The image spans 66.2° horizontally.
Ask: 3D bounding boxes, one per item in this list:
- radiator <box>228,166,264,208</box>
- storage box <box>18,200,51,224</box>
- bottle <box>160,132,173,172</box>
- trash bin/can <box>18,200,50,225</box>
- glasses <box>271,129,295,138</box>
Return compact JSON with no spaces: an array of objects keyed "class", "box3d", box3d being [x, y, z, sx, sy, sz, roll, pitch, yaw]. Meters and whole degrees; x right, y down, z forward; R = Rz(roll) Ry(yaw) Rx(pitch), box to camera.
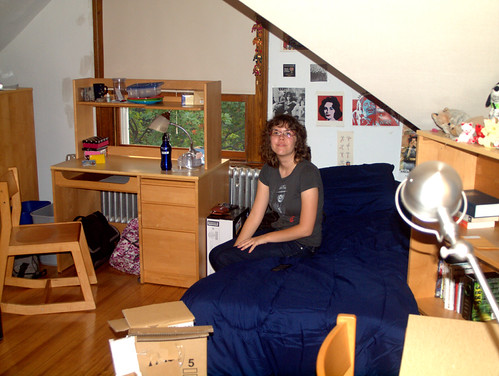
[{"class":"radiator","box3d":[-0.036,-0.014,3.457,0.384,0.391,0.069,3,6,12]},{"class":"storage box","box3d":[-2.200,0.236,3.814,0.209,0.118,0.308,2,6,-3]},{"class":"bottle","box3d":[-0.699,-0.304,3.174,0.092,0.302,0.219,-4,12,-12]},{"class":"trash bin/can","box3d":[-2.207,0.239,3.840,0.209,0.117,0.305,3,6,0]},{"class":"glasses","box3d":[0.232,-0.381,2.660,0.149,0.055,0.061,0,12,2]}]
